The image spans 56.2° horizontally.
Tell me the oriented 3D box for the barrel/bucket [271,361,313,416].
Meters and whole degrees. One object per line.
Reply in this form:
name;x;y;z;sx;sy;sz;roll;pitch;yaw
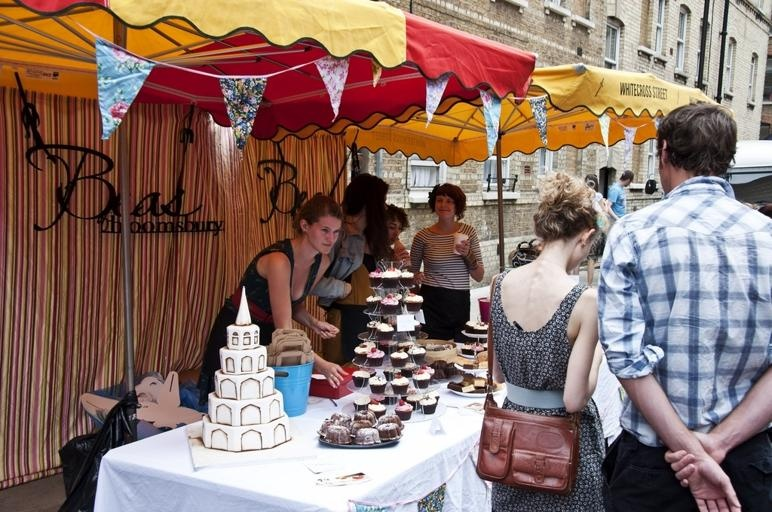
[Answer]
barrel/bucket;-0.594;0.857;4.690;0.322;0.285;0.301;-2;0;0

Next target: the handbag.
handbag;0.833;0.995;4.198;0.652;0.715;0.394;5;-14;19

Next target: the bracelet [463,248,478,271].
bracelet;0.870;0.053;7.389;0.163;0.231;0.135;6;21;35

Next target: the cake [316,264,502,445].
cake;-0.033;0.602;4.806;0.995;0.662;1.063;1;2;1

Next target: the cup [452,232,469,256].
cup;0.712;-0.102;7.141;0.183;0.208;0.196;1;1;0
